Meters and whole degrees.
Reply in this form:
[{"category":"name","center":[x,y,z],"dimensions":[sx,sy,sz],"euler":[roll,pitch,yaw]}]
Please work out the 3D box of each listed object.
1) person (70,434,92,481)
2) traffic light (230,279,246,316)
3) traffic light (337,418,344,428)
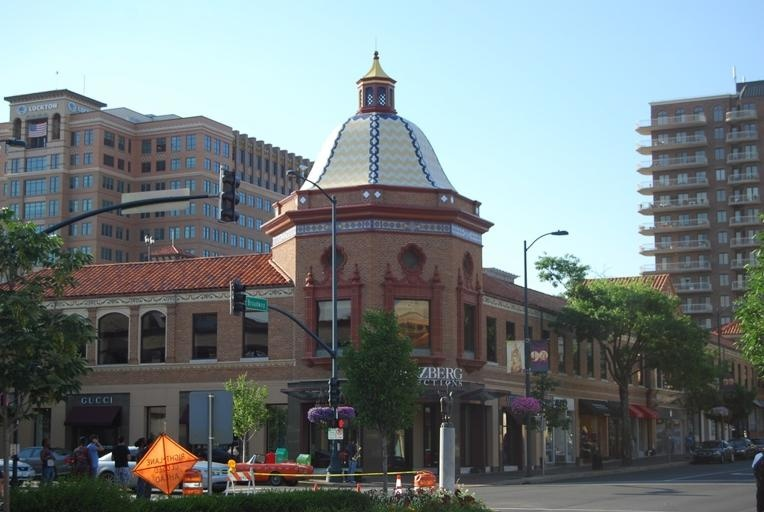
[{"category":"person","center":[-19.503,12.847,101.811],"dimensions":[1.149,2.411,1.546],"euler":[3,-17,-13]},{"category":"traffic light","center":[-9.805,2.729,104.442],"dimensions":[1.111,2.403,0.813],"euler":[1,9,3]},{"category":"traffic light","center":[-3.106,11.439,108.460],"dimensions":[0.430,0.595,0.227],"euler":[4,-9,3]}]
